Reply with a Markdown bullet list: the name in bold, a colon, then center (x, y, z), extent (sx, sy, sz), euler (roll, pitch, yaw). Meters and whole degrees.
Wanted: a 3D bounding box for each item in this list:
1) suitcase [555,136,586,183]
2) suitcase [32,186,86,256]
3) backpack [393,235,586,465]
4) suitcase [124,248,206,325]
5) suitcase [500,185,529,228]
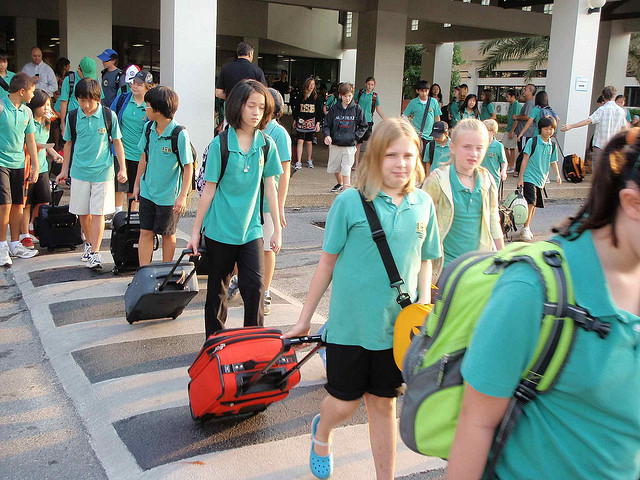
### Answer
- **suitcase**: center (7.501, -2.536, 14.464), extent (0.737, 1.613, 0.566), euler (-10, 15, 24)
- **suitcase**: center (-3.916, -0.262, 7.232), extent (0.865, 1.371, 0.732), euler (-3, 7, -31)
- **backpack**: center (0.494, 0.422, 1.806), extent (0.393, 0.735, 0.500), euler (15, 11, 6)
- **suitcase**: center (-1.619, 0.521, 5.063), extent (0.490, 0.939, 0.553), euler (5, 41, -37)
- **suitcase**: center (3.726, -0.641, 9.030), extent (0.468, 0.717, 0.690), euler (8, -8, -14)
